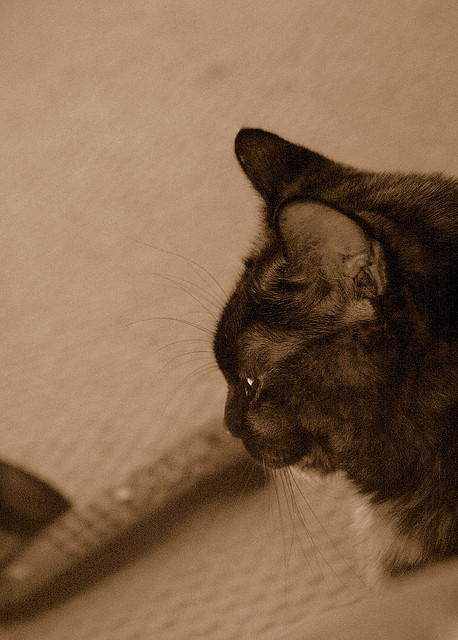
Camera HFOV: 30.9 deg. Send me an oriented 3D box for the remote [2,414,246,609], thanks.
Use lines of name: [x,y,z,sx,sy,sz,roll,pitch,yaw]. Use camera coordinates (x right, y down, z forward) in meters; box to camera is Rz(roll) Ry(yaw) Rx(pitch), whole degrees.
remote: [-0.188,0.387,1.615,0.625,0.107,0.056,-31,-21,7]
